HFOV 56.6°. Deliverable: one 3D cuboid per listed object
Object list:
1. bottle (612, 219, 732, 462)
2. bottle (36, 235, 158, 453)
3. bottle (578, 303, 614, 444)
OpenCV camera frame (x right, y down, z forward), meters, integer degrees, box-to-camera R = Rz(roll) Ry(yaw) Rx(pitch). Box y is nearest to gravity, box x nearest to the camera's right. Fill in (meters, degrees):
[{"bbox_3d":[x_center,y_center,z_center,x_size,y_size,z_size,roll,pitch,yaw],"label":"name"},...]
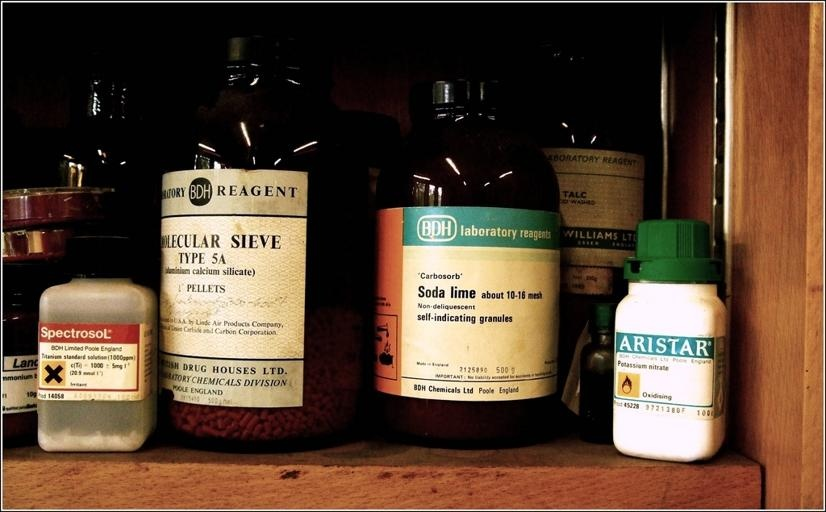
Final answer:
[{"bbox_3d":[0.275,0.090,0.828,0.117,0.259,0.045,-1,5,11],"label":"bottle"},{"bbox_3d":[-0.345,0.096,0.832,0.124,0.233,0.050,-4,5,-21],"label":"bottle"},{"bbox_3d":[0.212,0.134,0.882,0.041,0.159,0.027,-1,5,17],"label":"bottle"}]
